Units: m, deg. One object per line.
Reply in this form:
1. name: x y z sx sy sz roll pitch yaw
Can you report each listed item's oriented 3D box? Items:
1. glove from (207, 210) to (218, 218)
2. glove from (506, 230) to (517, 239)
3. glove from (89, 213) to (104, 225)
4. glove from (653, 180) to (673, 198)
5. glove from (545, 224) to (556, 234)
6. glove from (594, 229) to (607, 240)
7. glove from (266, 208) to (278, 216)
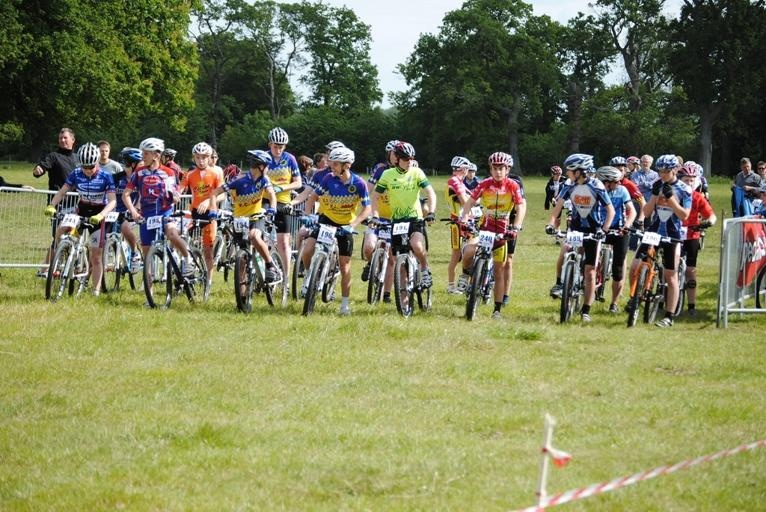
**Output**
1. glove: -3.357 -0.807 21.235 0.162 0.114 0.160 3 -1 -37
2. glove: 2.527 -0.396 20.949 0.203 0.174 0.421 3 1 10
3. glove: -5.669 -0.710 21.278 0.287 0.199 0.631 3 1 -15
4. glove: 5.549 -1.302 21.219 0.288 0.374 0.172 -16 -47 26
5. glove: 3.298 -0.509 21.031 0.160 0.189 0.271 3 1 17
6. glove: 4.264 -0.396 20.947 0.208 0.176 0.150 3 1 -1
7. glove: -2.152 -0.830 20.734 0.146 0.093 0.143 0 -2 -22
